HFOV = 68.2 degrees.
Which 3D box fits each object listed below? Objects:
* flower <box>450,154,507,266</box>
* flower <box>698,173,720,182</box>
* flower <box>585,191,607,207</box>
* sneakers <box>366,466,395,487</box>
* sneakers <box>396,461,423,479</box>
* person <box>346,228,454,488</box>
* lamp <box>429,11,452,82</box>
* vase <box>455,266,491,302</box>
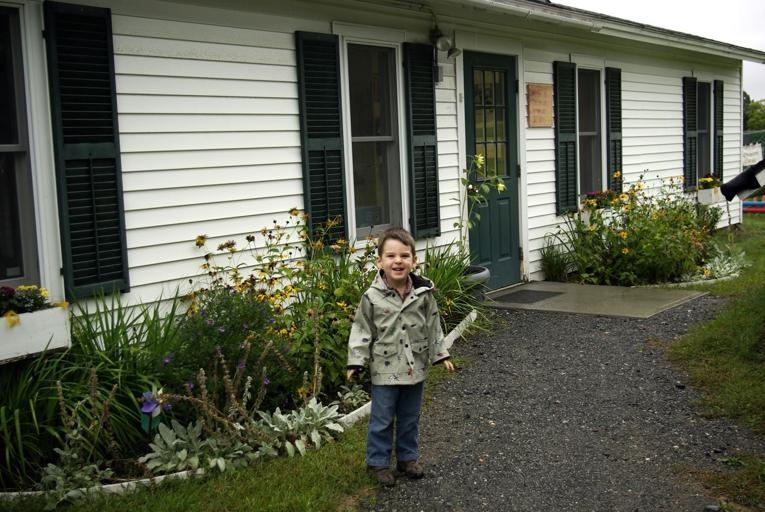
[{"bbox_3d":[1.340,-0.777,7.848,0.528,0.470,1.292,12,-31,14],"label":"flower"},{"bbox_3d":[7.290,-1.745,12.655,0.291,0.145,0.309,0,2,2],"label":"flower"},{"bbox_3d":[3.433,-0.900,9.021,0.260,0.231,0.263,-2,12,-5],"label":"flower"},{"bbox_3d":[-0.011,1.505,3.901,0.096,0.085,0.183,-5,4,-43],"label":"sneakers"},{"bbox_3d":[0.196,1.481,3.968,0.169,0.121,0.087,-2,2,34],"label":"sneakers"},{"bbox_3d":[0.100,0.672,3.941,0.714,1.700,0.544,-4,12,-8],"label":"person"},{"bbox_3d":[0.726,-2.574,7.083,0.248,0.758,0.203,4,22,14],"label":"lamp"},{"bbox_3d":[1.127,0.344,7.000,0.384,0.347,0.402,-1,2,-7],"label":"vase"}]
